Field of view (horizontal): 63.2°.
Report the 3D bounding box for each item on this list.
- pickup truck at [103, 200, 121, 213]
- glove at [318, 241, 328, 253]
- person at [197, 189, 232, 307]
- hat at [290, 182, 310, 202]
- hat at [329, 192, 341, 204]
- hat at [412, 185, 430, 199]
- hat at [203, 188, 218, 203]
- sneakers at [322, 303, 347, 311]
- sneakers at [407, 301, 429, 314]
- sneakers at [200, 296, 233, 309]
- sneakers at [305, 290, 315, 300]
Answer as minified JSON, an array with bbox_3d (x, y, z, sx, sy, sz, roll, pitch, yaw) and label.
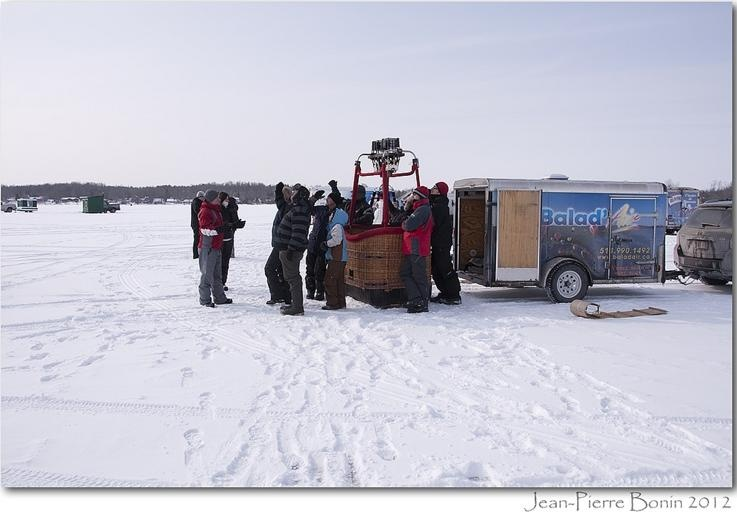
[{"bbox_3d":[-29.646,-5.821,69.110,1.095,1.626,4.690,-3,15,-14],"label":"pickup truck"},{"bbox_3d":[-0.880,-0.188,11.704,0.146,0.206,0.207,0,-2,-3],"label":"glove"},{"bbox_3d":[-3.115,-0.161,11.919,0.623,2.290,0.628,-11,17,-38],"label":"person"},{"bbox_3d":[-1.297,-1.185,11.170,0.329,0.320,0.313,-1,14,-2],"label":"hat"},{"bbox_3d":[-0.630,-1.144,11.684,0.144,0.254,0.356,11,18,39],"label":"hat"},{"bbox_3d":[1.028,-1.258,11.692,0.298,0.241,0.261,-1,14,-2],"label":"hat"},{"bbox_3d":[-3.109,-1.200,11.832,0.211,0.230,0.276,12,-10,-22],"label":"hat"},{"bbox_3d":[-0.665,0.970,11.738,0.446,0.203,0.167,4,-3,-7],"label":"sneakers"},{"bbox_3d":[0.954,0.991,11.537,0.368,0.165,0.177,-3,3,-10],"label":"sneakers"},{"bbox_3d":[-3.031,0.943,12.011,0.645,0.288,0.221,4,-3,-30],"label":"sneakers"},{"bbox_3d":[-1.231,0.826,12.901,0.222,0.308,0.180,-1,-8,5],"label":"sneakers"}]
